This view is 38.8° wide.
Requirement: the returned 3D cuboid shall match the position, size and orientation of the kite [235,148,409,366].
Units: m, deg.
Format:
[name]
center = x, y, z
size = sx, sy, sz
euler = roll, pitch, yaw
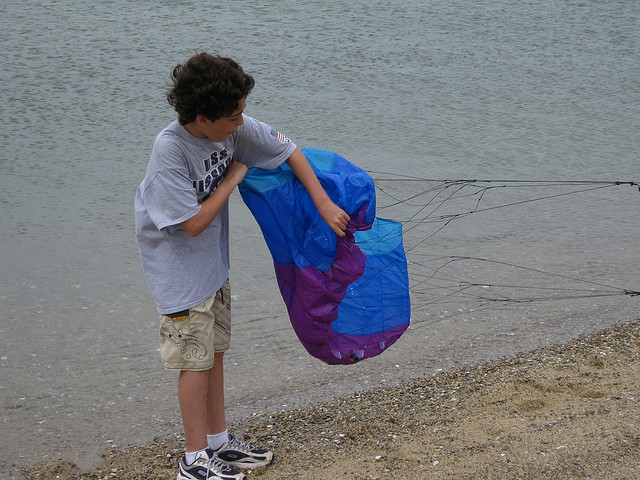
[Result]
[kite]
center = 0.159, 0.138, 7.820
size = 1.993, 1.798, 0.821
euler = -13, 12, -5
